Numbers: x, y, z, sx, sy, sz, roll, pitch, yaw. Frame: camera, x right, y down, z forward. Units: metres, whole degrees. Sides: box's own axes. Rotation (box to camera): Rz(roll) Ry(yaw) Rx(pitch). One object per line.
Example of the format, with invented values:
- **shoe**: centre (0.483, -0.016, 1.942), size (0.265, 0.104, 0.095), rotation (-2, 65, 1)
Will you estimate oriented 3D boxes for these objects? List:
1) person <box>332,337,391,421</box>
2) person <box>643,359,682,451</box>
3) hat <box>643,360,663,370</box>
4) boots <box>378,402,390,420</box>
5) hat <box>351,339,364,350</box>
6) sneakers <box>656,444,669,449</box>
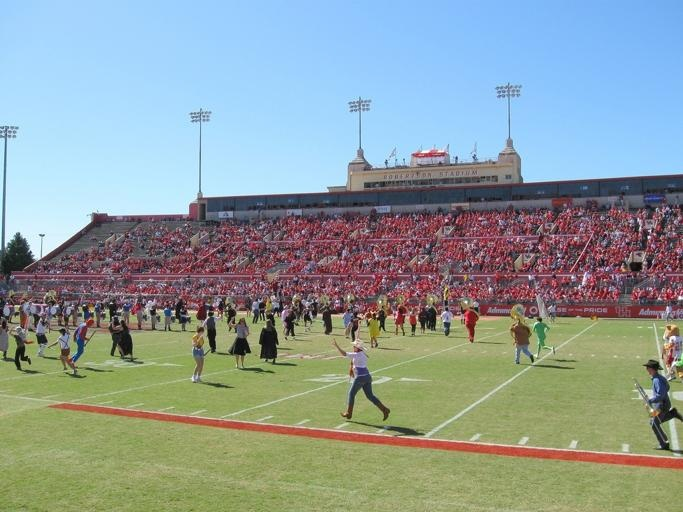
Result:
- **person**: centre (0.615, 3.209, 21.466), size (1.269, 1.966, 0.855), rotation (2, 5, 23)
- **person**: centre (7.326, 3.454, 19.336), size (0.765, 1.970, 0.670), rotation (2, 5, 25)
- **hat**: centre (7.104, 2.534, 19.586), size (0.528, 0.194, 0.456), rotation (5, -1, 32)
- **boots**: centre (1.055, 3.948, 21.484), size (0.289, 0.524, 0.746), rotation (0, 5, 5)
- **hat**: centre (0.442, 2.284, 21.501), size (0.217, 0.083, 0.244), rotation (8, -15, 43)
- **sneakers**: centre (7.314, 4.387, 19.262), size (0.200, 0.071, 0.125), rotation (-14, -6, 10)
